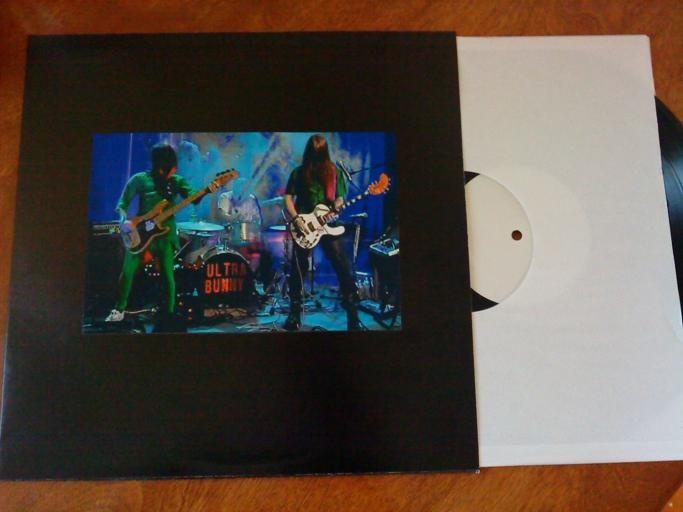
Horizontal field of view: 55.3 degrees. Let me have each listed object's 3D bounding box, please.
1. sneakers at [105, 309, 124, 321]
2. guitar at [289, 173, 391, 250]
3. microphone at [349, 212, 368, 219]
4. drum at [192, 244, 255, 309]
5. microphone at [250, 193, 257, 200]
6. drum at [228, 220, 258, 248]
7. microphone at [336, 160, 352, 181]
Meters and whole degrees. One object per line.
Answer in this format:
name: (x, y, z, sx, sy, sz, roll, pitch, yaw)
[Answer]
sneakers: (-1.115, 0.288, 3.219, 0.113, 0.039, 0.058, 1, 77, -1)
guitar: (-0.020, -0.230, 3.353, 0.682, 0.078, 0.237, -35, 90, 5)
microphone: (0.091, -0.198, 3.286, 0.098, 0.031, 0.035, -1, 75, 3)
drum: (-0.579, 0.085, 3.245, 0.288, 0.276, 0.313, 0, 92, -14)
microphone: (-0.439, -0.299, 3.264, 0.045, 0.005, 0.026, 42, 74, 5)
drum: (-0.483, -0.109, 3.203, 0.120, 0.129, 0.099, 1, 83, 0)
microphone: (0.017, -0.430, 3.279, 0.043, 0.039, 0.139, -29, 86, -9)
